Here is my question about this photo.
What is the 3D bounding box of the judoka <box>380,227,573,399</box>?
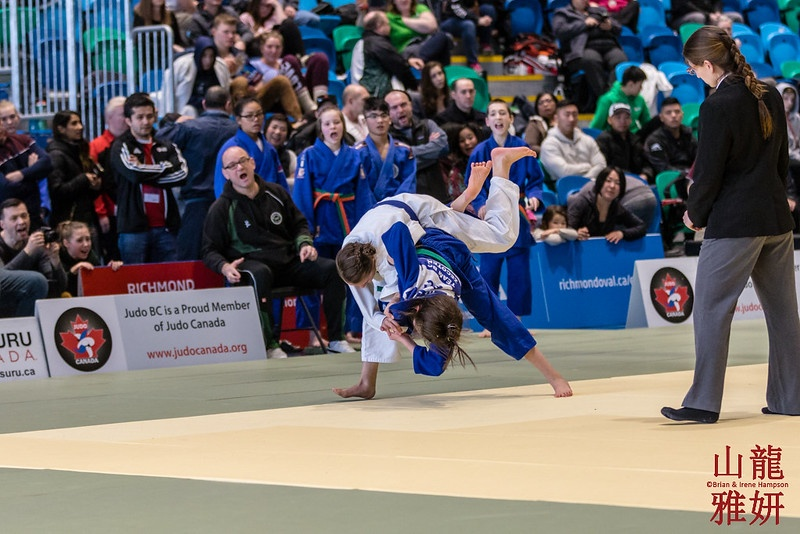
[{"bbox_3d":[0.554,0.343,7.459,1.103,0.551,2.021,-41,-34,7],"label":"judoka"}]

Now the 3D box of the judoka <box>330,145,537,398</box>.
[{"bbox_3d":[0.562,0.230,6.984,1.693,0.688,1.100,20,57,31],"label":"judoka"}]
